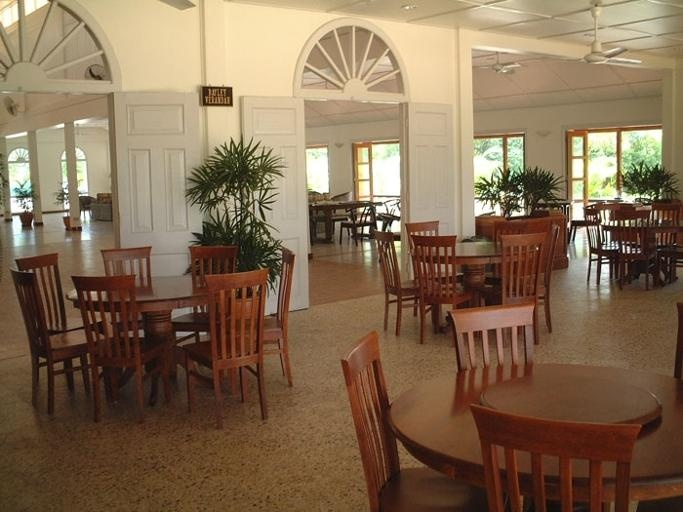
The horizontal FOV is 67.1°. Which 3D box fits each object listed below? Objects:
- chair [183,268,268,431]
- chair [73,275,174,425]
[{"bbox_3d":[-0.870,0.603,3.955,0.680,1.148,1.076,-5,11,-17],"label":"chair"},{"bbox_3d":[-1.595,0.612,3.886,0.567,1.129,0.899,-5,11,-20],"label":"chair"}]
